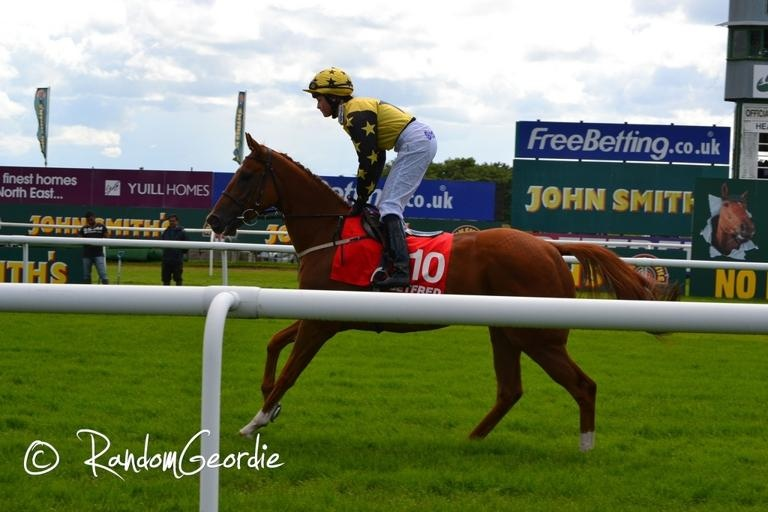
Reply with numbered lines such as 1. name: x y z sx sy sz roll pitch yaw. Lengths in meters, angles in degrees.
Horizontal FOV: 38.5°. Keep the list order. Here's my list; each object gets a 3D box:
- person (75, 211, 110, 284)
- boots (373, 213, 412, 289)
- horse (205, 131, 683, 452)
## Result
1. person: -3.384 0.013 12.734 0.333 0.851 1.488 2 12 -15
2. boots: 0.059 -0.018 6.886 0.236 0.451 0.269 5 12 -1
3. horse: 0.157 0.143 6.674 2.753 1.479 1.429 8 12 14
